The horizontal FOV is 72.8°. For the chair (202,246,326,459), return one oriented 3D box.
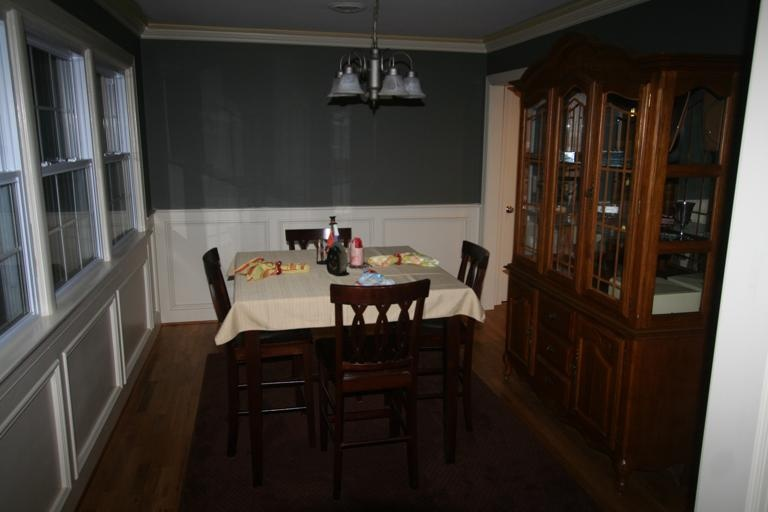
[{"bbox_3d":[-0.832,0.714,3.685,0.791,1.518,0.841,-3,25,-9],"label":"chair"}]

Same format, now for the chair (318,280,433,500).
[{"bbox_3d":[-0.086,0.738,3.455,0.714,1.353,0.746,-3,11,-9],"label":"chair"}]

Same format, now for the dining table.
[{"bbox_3d":[-0.241,0.605,3.774,1.378,0.976,1.507,-4,20,-11],"label":"dining table"}]
